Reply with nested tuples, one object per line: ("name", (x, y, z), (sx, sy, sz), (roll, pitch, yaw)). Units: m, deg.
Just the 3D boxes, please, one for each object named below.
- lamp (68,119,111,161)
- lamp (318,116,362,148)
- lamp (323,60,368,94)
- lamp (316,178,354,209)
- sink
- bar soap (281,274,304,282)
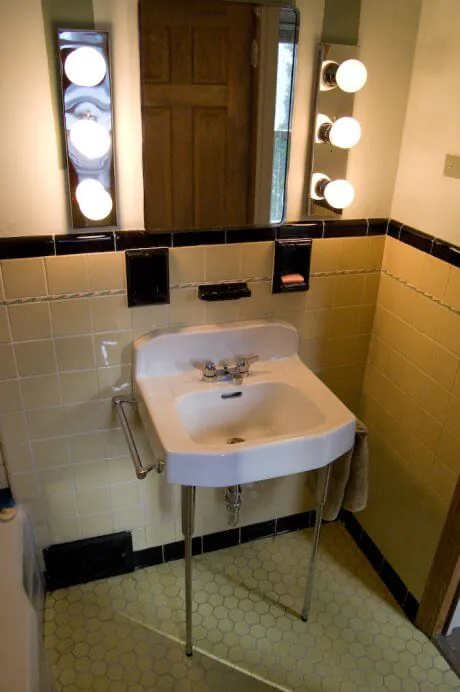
("lamp", (-0.338, -0.502, 1.197), (0.098, 0.094, 0.068), (-5, 23, -15))
("lamp", (0.330, -0.613, 1.415), (0.152, 0.089, 0.145), (-3, 23, -12))
("lamp", (0.306, -0.730, 1.333), (0.087, 0.092, 0.098), (3, 15, -31))
("lamp", (0.346, -0.464, 1.523), (0.165, 0.097, 0.102), (-19, 30, -40))
("sink", (0.038, 0.174, 1.419), (0.554, 0.313, 0.519), (-6, 24, -19))
("bar soap", (0.202, -0.216, 1.590), (0.084, 0.029, 0.024), (-11, 25, -28))
